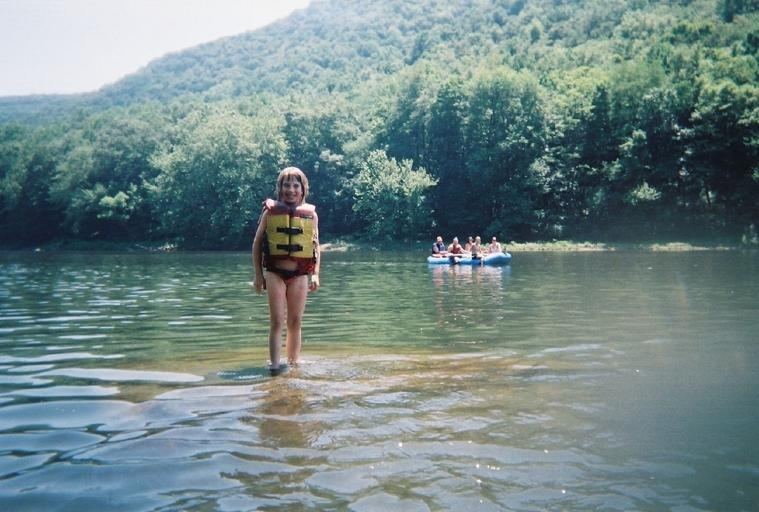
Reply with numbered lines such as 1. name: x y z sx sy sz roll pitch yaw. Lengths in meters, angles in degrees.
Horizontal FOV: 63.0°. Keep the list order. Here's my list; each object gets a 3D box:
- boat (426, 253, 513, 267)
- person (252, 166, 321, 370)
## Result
1. boat: 4.577 0.217 31.033 3.029 0.484 1.451 -2 -2 29
2. person: -1.370 0.173 9.067 0.938 2.973 0.601 0 -1 -11
